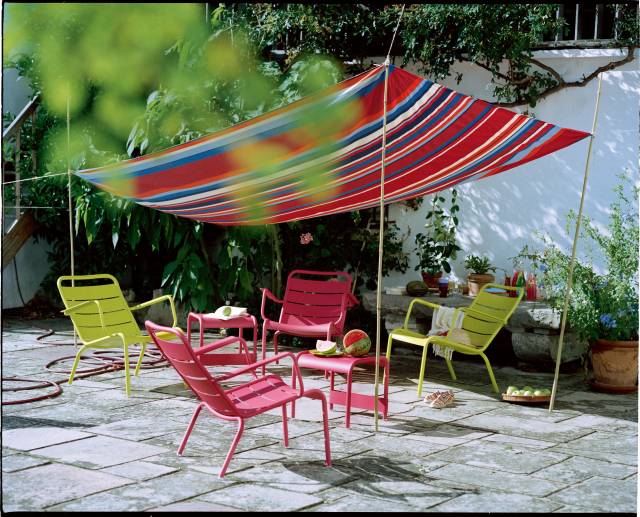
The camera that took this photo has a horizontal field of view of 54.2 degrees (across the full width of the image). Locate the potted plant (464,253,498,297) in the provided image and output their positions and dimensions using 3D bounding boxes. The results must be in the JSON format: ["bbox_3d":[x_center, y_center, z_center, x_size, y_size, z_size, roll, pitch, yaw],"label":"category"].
[{"bbox_3d":[1.963,0.236,7.543,0.337,0.481,0.365,0,0,10],"label":"potted plant"}]

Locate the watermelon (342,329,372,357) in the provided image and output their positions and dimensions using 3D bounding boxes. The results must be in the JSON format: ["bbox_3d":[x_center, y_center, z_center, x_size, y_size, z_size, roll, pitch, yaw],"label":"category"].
[{"bbox_3d":[0.283,0.651,4.839,0.187,0.204,0.249,1,5,-2],"label":"watermelon"}]

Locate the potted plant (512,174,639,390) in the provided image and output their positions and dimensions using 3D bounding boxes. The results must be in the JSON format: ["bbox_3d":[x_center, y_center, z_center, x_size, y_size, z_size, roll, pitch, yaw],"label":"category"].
[{"bbox_3d":[2.814,0.141,6.597,1.259,2.123,2.059,2,5,12],"label":"potted plant"}]

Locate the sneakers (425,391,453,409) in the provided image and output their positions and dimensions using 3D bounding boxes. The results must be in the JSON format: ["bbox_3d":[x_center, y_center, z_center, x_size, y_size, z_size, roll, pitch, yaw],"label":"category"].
[{"bbox_3d":[1.041,1.200,5.342,0.190,0.067,0.130,0,3,-31],"label":"sneakers"}]

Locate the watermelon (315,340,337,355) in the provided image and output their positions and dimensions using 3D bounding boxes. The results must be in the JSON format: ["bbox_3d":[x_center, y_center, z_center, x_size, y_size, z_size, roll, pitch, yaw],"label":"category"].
[{"bbox_3d":[0.043,0.688,4.907,0.161,0.092,0.240,0,4,-13],"label":"watermelon"}]

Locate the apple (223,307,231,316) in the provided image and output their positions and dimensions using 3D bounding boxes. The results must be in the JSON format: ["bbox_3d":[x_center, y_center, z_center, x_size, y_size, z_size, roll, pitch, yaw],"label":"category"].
[{"bbox_3d":[-0.950,0.537,6.430,0.074,0.058,0.080,9,-18,-24],"label":"apple"}]
